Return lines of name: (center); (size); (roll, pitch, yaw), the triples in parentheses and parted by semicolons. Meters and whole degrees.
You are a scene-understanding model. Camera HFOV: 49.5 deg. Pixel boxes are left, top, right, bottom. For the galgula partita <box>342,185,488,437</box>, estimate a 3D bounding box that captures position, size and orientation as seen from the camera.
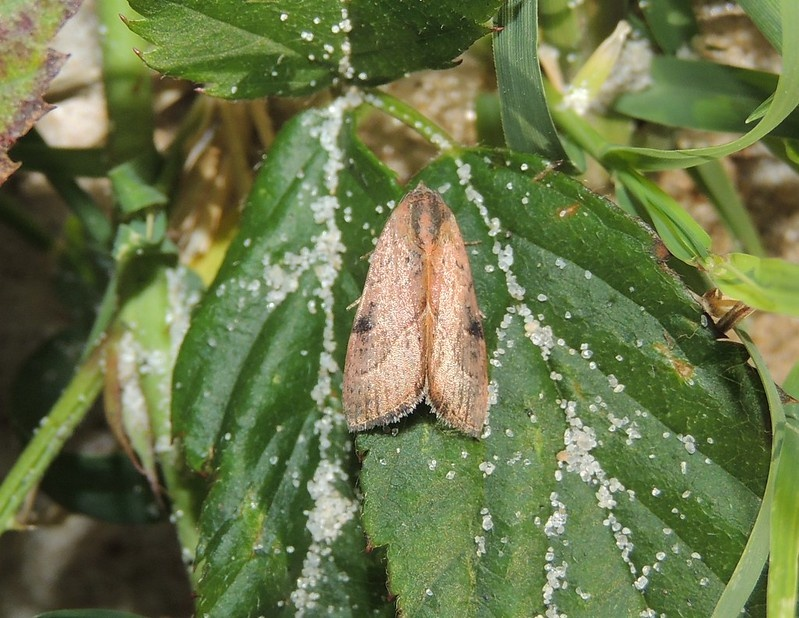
galgula partita: (0.035, 0.020, 1.341); (0.198, 0.092, 0.396); (1, 86, 6)
